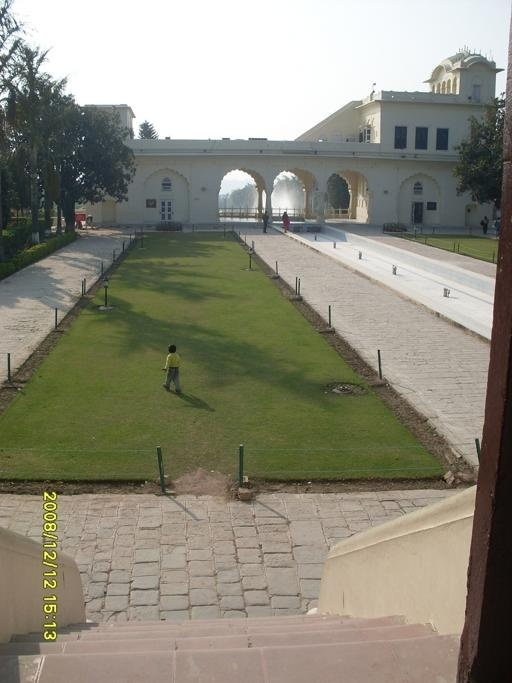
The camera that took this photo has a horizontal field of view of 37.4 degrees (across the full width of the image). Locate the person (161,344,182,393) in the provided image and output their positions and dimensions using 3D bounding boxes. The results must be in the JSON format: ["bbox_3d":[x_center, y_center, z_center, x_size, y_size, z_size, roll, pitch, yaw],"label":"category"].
[{"bbox_3d":[-1.312,0.365,11.835,0.264,0.779,0.778,-1,13,-7],"label":"person"}]
